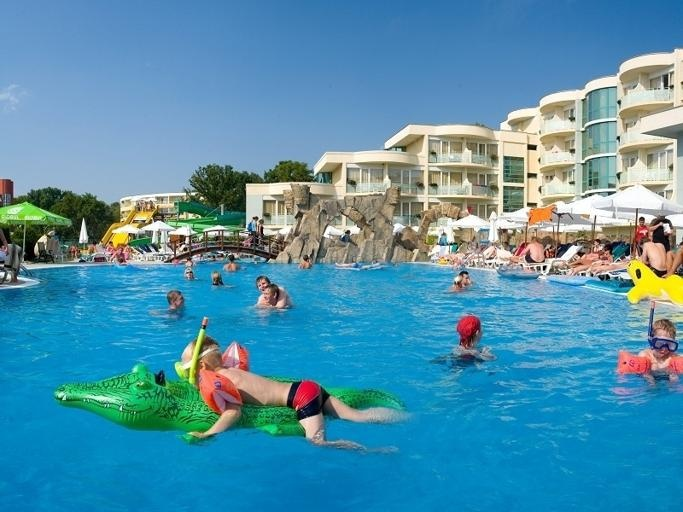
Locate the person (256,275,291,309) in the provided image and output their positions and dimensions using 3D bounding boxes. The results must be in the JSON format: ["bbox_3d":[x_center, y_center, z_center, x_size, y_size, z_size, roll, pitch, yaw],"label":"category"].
[{"bbox_3d":[-1.530,0.786,12.557,0.750,0.748,0.527,-5,1,-43],"label":"person"}]

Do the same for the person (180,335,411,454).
[{"bbox_3d":[-0.527,1.521,6.691,2.376,0.974,1.200,2,5,5],"label":"person"}]

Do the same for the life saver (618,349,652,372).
[{"bbox_3d":[3.815,1.408,7.830,0.341,0.327,0.254,1,-15,15],"label":"life saver"}]

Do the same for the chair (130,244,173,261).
[{"bbox_3d":[-9.157,0.015,28.641,1.632,0.561,1.153,0,4,-1],"label":"chair"}]

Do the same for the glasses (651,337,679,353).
[{"bbox_3d":[4.076,1.117,7.574,0.318,0.213,0.141,4,15,18],"label":"glasses"}]

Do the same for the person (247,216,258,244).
[{"bbox_3d":[-4.676,-1.356,31.220,0.502,1.306,2.105,-3,15,-9],"label":"person"}]
